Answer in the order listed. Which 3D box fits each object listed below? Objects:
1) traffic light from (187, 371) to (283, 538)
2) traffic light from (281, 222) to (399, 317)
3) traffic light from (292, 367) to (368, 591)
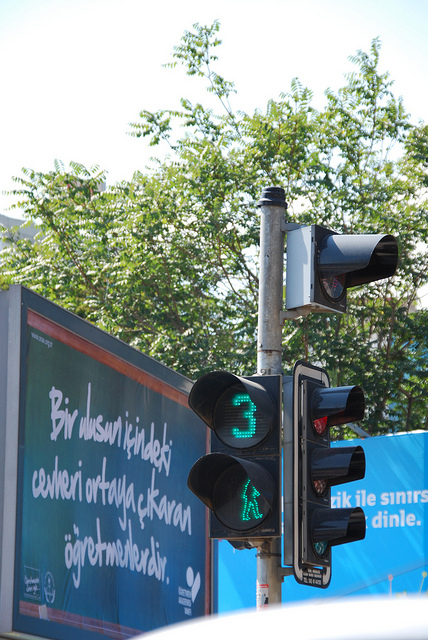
[{"bbox_3d":[0.128,0.767,7.378,0.550,0.930,0.344,-1,-5,3],"label":"traffic light"},{"bbox_3d":[0.768,-0.321,7.831,0.758,0.566,0.459,-7,-8,42],"label":"traffic light"},{"bbox_3d":[0.681,0.893,7.447,0.395,1.292,0.557,-3,-6,23],"label":"traffic light"}]
